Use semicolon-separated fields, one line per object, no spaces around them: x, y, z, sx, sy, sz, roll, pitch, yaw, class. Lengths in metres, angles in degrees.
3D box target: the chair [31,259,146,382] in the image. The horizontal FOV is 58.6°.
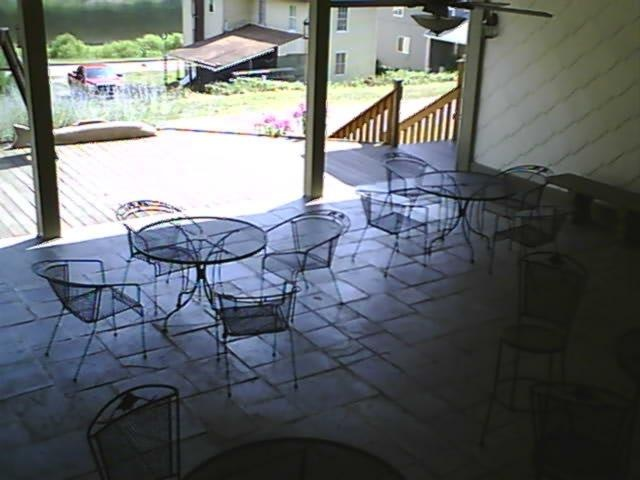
-2.185;0.801;5.355;0.754;0.826;0.859;30;35;35;chair
